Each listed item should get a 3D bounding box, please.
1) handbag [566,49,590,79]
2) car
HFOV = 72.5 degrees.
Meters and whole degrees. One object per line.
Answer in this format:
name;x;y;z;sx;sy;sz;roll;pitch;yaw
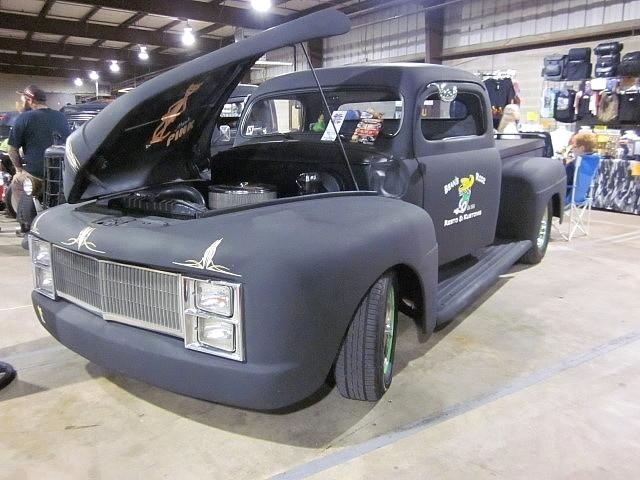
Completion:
handbag;5.306;-3.629;9.004;0.467;0.629;0.278;7;17;25
car;0.342;-0.251;3.303;2.147;1.538;3.832;4;10;43
